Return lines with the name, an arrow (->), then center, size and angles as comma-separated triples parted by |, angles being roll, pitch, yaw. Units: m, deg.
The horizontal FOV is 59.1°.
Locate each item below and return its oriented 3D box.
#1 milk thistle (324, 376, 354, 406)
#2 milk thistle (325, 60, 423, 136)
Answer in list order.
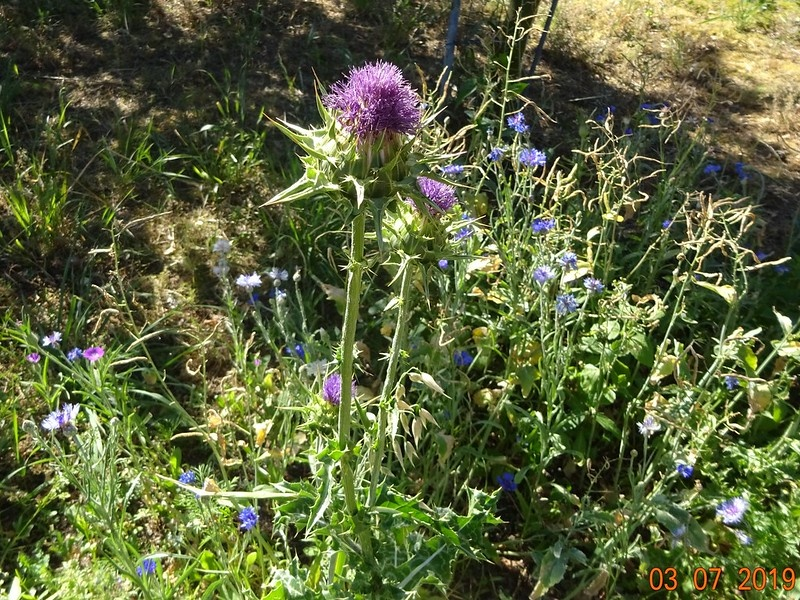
milk thistle -> -0.249, 0.350, 2.779 | 0.095, 0.110, 0.098 | -14, 23, -33
milk thistle -> -0.095, -0.728, 2.490 | 0.346, 0.188, 0.286 | 5, 44, -8
